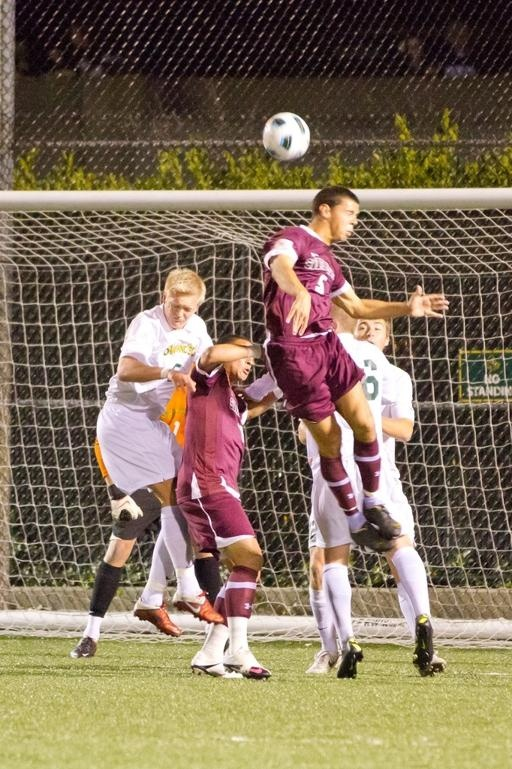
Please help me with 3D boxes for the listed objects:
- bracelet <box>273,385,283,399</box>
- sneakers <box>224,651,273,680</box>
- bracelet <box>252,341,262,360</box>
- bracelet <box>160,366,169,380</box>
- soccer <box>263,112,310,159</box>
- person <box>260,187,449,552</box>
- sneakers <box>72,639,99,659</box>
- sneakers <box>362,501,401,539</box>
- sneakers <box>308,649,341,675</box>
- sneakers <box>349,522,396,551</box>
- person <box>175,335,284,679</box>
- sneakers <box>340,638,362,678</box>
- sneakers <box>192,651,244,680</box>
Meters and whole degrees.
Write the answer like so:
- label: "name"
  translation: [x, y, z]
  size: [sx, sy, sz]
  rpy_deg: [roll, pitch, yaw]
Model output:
- label: "bracelet"
  translation: [0.100, 0.033, 4.194]
  size: [0.016, 0.045, 0.053]
  rpy_deg: [-18, 13, -25]
- label: "sneakers"
  translation: [-0.063, 1.045, 3.677]
  size: [0.222, 0.086, 0.088]
  rpy_deg: [3, 1, 41]
- label: "bracelet"
  translation: [0.003, -0.126, 3.879]
  size: [0.025, 0.027, 0.073]
  rpy_deg: [-6, -29, 0]
- label: "bracelet"
  translation: [-0.373, -0.046, 4.039]
  size: [0.061, 0.047, 0.054]
  rpy_deg: [-2, 16, -7]
- label: "soccer"
  translation: [0.150, -1.262, 4.928]
  size: [0.198, 0.263, 0.227]
  rpy_deg: [-1, 2, 22]
- label: "person"
  translation: [0.297, -0.073, 3.995]
  size: [0.487, 1.544, 0.991]
  rpy_deg: [0, 3, 43]
- label: "sneakers"
  translation: [-0.798, 1.248, 4.610]
  size: [0.057, 0.059, 0.144]
  rpy_deg: [17, -7, 10]
- label: "sneakers"
  translation: [0.507, 0.551, 4.000]
  size: [0.072, 0.082, 0.201]
  rpy_deg: [-37, 44, -14]
- label: "sneakers"
  translation: [0.273, 1.188, 4.197]
  size: [0.061, 0.067, 0.174]
  rpy_deg: [-19, -5, 39]
- label: "sneakers"
  translation: [0.462, 0.611, 4.045]
  size: [0.081, 0.091, 0.216]
  rpy_deg: [-35, 24, -26]
- label: "person"
  translation: [-0.135, 0.485, 3.803]
  size: [0.351, 1.337, 0.503]
  rpy_deg: [-2, 2, 0]
- label: "sneakers"
  translation: [0.360, 1.070, 3.796]
  size: [0.075, 0.163, 0.082]
  rpy_deg: [13, 10, -5]
- label: "sneakers"
  translation: [-0.163, 1.090, 3.774]
  size: [0.250, 0.088, 0.076]
  rpy_deg: [13, -10, 4]
